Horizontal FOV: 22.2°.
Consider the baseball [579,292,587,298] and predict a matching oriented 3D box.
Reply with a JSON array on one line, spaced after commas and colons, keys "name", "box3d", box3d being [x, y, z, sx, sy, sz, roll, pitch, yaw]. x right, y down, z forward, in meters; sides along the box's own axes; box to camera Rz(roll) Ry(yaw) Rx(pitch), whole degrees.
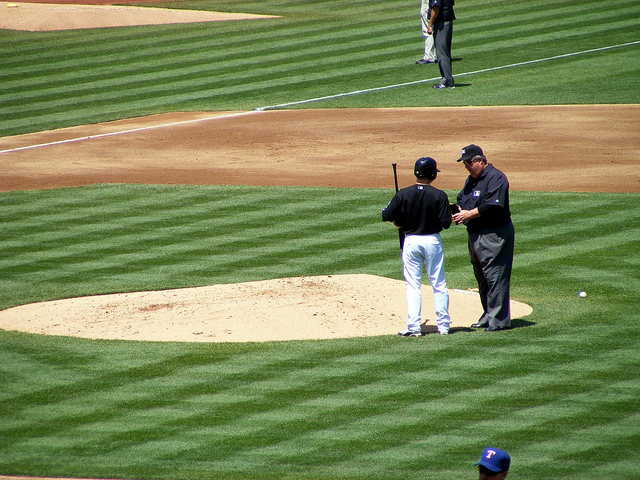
[{"name": "baseball", "box3d": [4.812, 1.046, 30.076, 0.130, 0.099, 0.162, -2, 12, 11]}]

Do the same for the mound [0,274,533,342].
[{"name": "mound", "box3d": [-1.843, 1.400, 30.029, 6.841, 0.728, 1.975, -3, 11, 1]}]

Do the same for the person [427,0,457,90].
[{"name": "person", "box3d": [3.116, -5.010, 42.057, 0.758, 2.411, 1.486, -6, 14, 4]}]
